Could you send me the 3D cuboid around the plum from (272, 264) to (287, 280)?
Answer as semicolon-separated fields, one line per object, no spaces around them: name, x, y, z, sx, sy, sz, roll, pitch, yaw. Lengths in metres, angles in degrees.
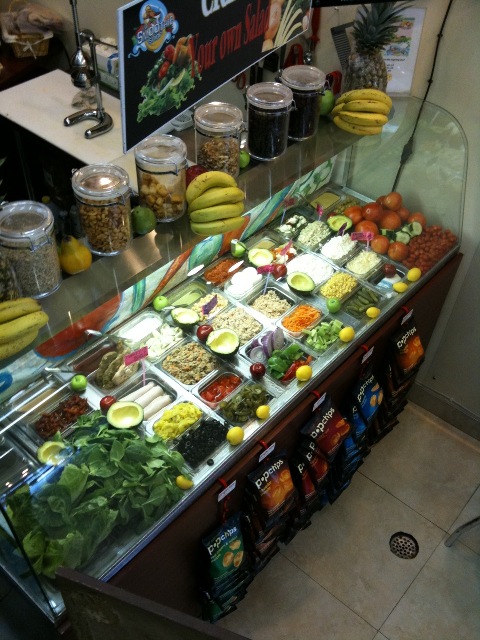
plum;0.196;-0.247;2.408;0.058;0.025;0.075;15;75;-1

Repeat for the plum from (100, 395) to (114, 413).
plum;-0.480;0.301;1.716;0.049;0.056;0.048;6;7;2

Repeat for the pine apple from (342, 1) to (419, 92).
pine apple;0.638;-1.271;2.312;0.226;0.427;0.304;-34;50;-30

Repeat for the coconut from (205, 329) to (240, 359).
coconut;-0.078;0.098;2.058;0.123;0.073;0.118;0;63;-3

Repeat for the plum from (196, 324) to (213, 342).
plum;-0.154;0.057;2.119;0.070;0.066;0.068;17;-3;-5

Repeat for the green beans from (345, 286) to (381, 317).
green beans;0.604;-0.098;2.385;0.136;0.048;0.161;37;68;20

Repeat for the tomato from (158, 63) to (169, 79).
tomato;-0.224;-0.726;1.398;0.012;0.040;0.032;31;52;20

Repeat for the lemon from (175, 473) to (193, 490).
lemon;-0.192;0.550;1.618;0.058;0.043;0.043;22;27;23

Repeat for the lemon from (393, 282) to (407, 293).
lemon;0.819;-0.168;2.455;0.062;0.046;0.047;-6;17;-8

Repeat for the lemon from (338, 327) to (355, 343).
lemon;0.486;0.068;2.193;0.058;0.055;0.074;-8;-2;7

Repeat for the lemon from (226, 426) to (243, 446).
lemon;-0.015;0.430;1.818;0.056;0.055;0.074;-1;30;42

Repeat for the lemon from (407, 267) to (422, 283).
lemon;0.913;-0.235;2.550;0.079;0.060;0.063;-53;18;-11

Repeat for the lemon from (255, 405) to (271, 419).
lemon;0.088;0.353;1.861;0.058;0.042;0.043;-9;8;-38

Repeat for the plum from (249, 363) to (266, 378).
plum;0.072;0.214;1.991;0.066;0.076;0.054;1;39;1

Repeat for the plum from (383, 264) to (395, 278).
plum;0.790;-0.263;2.539;0.063;0.063;0.076;-5;44;23

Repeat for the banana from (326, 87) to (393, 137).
banana;0.581;-1.023;2.344;0.304;0.200;0.207;18;42;27

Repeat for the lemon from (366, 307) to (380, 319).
lemon;0.637;-0.036;2.306;0.050;0.032;0.059;17;56;28

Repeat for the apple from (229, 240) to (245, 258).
apple;-0.021;-0.360;2.421;0.056;0.065;0.054;17;69;20

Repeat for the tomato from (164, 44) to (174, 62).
tomato;-0.206;-0.771;1.377;0.022;0.042;0.014;-14;31;-31

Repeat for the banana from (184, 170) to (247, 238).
banana;-0.094;-0.450;1.834;0.250;0.210;0.143;-27;46;-30

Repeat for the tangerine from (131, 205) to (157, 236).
tangerine;-0.351;-0.362;1.744;0.091;0.106;0.070;-12;41;-15

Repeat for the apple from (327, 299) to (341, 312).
apple;0.444;-0.074;2.314;0.060;0.068;0.058;-11;31;0

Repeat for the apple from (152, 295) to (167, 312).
apple;-0.355;-0.075;2.124;0.064;0.073;0.061;-5;58;-7
